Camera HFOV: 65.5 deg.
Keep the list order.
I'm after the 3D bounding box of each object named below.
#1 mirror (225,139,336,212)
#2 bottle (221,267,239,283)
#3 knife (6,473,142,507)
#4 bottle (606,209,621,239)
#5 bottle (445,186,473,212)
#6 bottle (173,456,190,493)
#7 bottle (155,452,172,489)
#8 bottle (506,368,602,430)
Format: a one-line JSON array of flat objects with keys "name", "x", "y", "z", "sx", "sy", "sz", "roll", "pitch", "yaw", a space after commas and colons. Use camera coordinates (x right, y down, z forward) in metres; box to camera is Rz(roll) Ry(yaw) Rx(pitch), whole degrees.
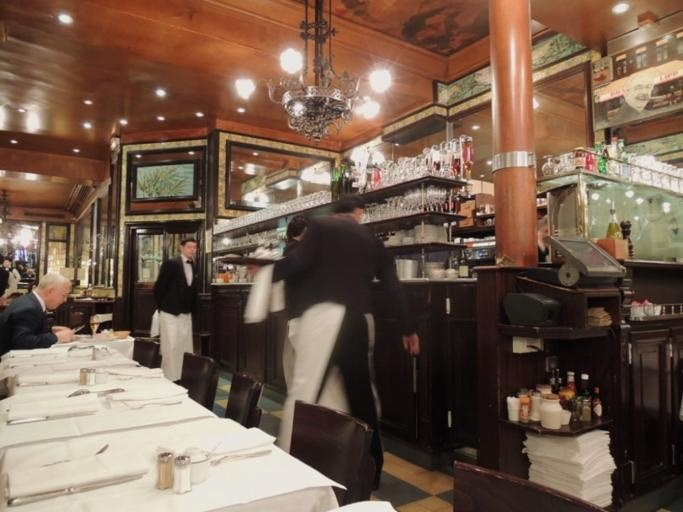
[{"name": "mirror", "x": -1.235, "y": -1.464, "z": 9.665, "sx": 1.950, "sy": 1.099, "sz": 0.091, "roll": 2, "pitch": -6, "yaw": -32}, {"name": "bottle", "x": -1.923, "y": 0.336, "z": 9.182, "sx": 0.184, "sy": 0.169, "sz": 0.315, "roll": 13, "pitch": 6, "yaw": -14}, {"name": "knife", "x": -1.044, "y": 0.913, "z": 2.166, "sx": 0.547, "sy": 0.056, "sz": 0.127, "roll": -3, "pitch": 4, "yaw": -28}, {"name": "bottle", "x": 2.133, "y": -0.259, "z": 4.145, "sx": 0.081, "sy": 0.231, "sz": 0.216, "roll": 4, "pitch": 3, "yaw": 44}, {"name": "bottle", "x": 1.162, "y": -0.556, "z": 5.234, "sx": 0.189, "sy": 0.280, "sz": 0.239, "roll": 3, "pitch": 3, "yaw": 34}, {"name": "bottle", "x": -0.646, "y": 0.887, "z": 2.152, "sx": 0.069, "sy": 0.141, "sz": 0.052, "roll": 1, "pitch": 2, "yaw": -19}, {"name": "bottle", "x": -0.726, "y": 0.887, "z": 2.178, "sx": 0.067, "sy": 0.135, "sz": 0.082, "roll": 1, "pitch": 2, "yaw": -19}, {"name": "bottle", "x": 1.471, "y": 0.942, "z": 3.608, "sx": 0.368, "sy": 0.171, "sz": 0.486, "roll": 0, "pitch": 0, "yaw": -1}]
